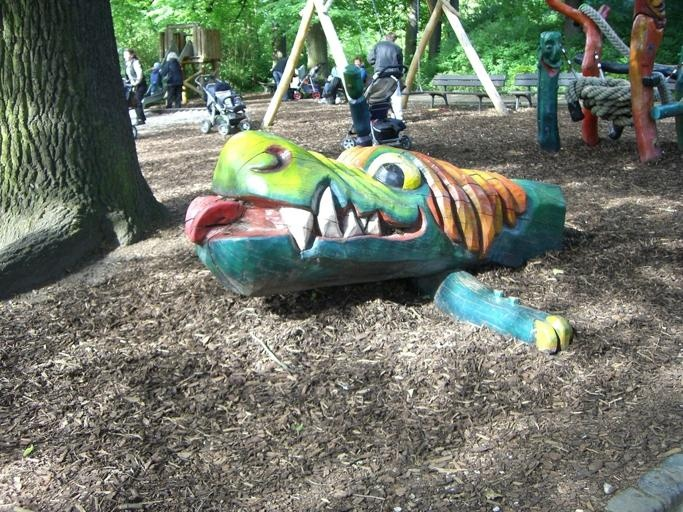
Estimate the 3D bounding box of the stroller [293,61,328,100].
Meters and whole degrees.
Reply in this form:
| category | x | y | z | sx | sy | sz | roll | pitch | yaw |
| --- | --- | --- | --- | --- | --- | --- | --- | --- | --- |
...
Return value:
| category | x | y | z | sx | sy | sz | roll | pitch | yaw |
| --- | --- | --- | --- | --- | --- | --- | --- | --- | --- |
| stroller | -0.880 | -4.665 | 18.418 | 0.836 | 1.240 | 1.324 | -9 | 20 | -28 |

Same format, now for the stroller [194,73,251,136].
| category | x | y | z | sx | sy | sz | roll | pitch | yaw |
| --- | --- | --- | --- | --- | --- | --- | --- | --- | --- |
| stroller | -2.137 | -2.657 | 12.105 | 0.823 | 1.040 | 1.941 | -9 | 21 | -10 |
